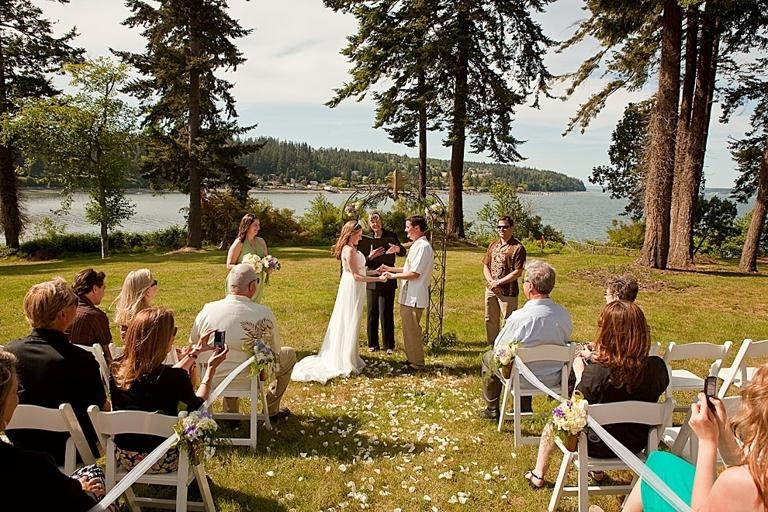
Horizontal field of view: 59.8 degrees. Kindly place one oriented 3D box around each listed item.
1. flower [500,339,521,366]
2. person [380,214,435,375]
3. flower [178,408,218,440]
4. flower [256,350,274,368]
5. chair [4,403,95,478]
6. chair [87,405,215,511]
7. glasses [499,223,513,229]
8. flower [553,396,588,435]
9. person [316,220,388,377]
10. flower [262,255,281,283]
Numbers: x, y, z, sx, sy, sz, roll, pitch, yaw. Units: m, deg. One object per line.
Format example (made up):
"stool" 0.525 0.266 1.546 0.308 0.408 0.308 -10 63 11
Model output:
"flower" 2.702 2.084 14.361 0.346 0.472 0.248 1 4 3
"person" 0.667 0.883 16.738 1.018 3.855 0.776 1 5 0
"flower" -3.673 3.290 13.017 0.763 0.501 0.131 0 5 -5
"flower" -2.544 2.202 14.286 0.303 0.305 0.315 3 0 2
"chair" -6.754 3.605 13.461 1.264 2.063 1.499 3 0 -9
"chair" -4.776 3.894 14.120 1.823 3.023 2.220 3 7 1
"glasses" 3.059 -0.759 16.879 0.319 0.135 0.159 2 5 10
"flower" 3.721 3.263 13.318 0.608 0.462 0.692 -17 -2 38
"person" -0.900 1.071 16.686 1.402 3.868 0.989 -1 6 -14
"flower" -3.051 0.348 17.175 0.667 0.745 0.708 1 5 4
